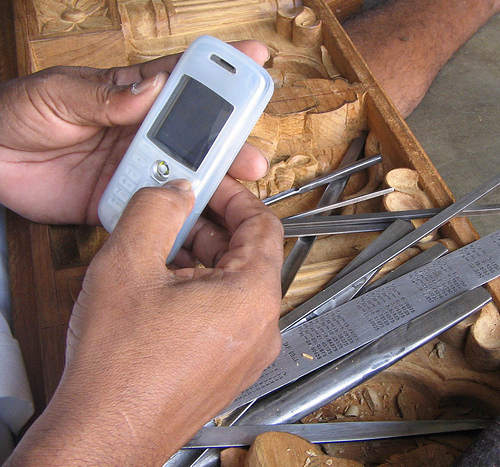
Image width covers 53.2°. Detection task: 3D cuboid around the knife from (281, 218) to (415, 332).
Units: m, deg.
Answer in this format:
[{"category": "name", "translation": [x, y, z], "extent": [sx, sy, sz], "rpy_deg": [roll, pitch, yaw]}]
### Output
[{"category": "knife", "translation": [0.273, 0.071, 1.044], "extent": [0.431, 0.039, 0.106], "rpy_deg": [-35, 48, -11]}]
